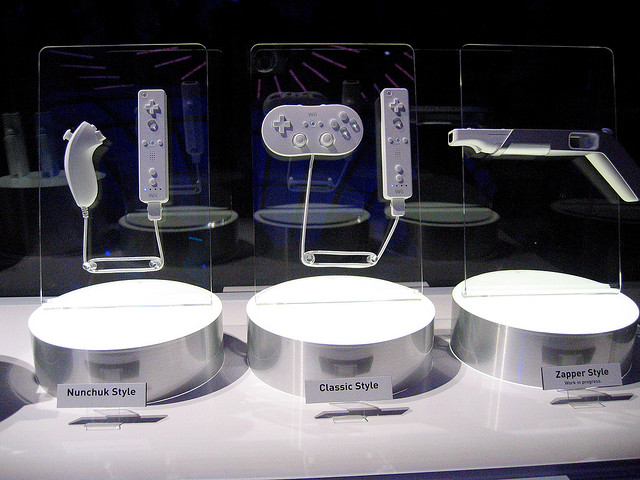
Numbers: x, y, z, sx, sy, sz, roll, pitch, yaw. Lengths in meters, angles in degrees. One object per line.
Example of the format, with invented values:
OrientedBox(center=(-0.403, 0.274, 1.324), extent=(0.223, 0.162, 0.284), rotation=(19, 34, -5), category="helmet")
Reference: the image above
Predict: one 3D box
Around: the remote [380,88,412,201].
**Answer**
OrientedBox(center=(0.160, -0.207, 1.268), extent=(0.067, 0.227, 0.065), rotation=(1, 15, 5), category="remote")

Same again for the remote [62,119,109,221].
OrientedBox(center=(-0.494, -0.152, 1.267), extent=(0.092, 0.207, 0.050), rotation=(-6, 16, -18), category="remote")

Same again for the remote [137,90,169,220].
OrientedBox(center=(-0.354, -0.182, 1.261), extent=(0.068, 0.266, 0.059), rotation=(-3, 15, -9), category="remote")
